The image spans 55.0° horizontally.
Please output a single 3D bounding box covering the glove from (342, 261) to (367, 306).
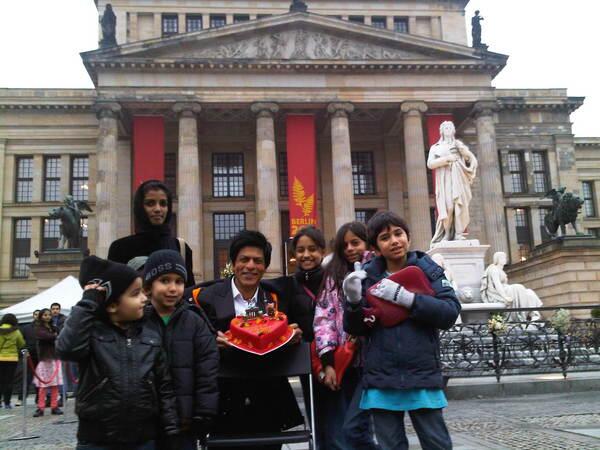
[{"bbox_3d":[0.601,0.599,5.942,0.313,0.128,0.327,-32,-12,-32],"label":"glove"}]

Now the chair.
[{"bbox_3d":[-0.385,1.771,6.465,1.488,1.240,1.020,-2,-24,0],"label":"chair"}]

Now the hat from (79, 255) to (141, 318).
[{"bbox_3d":[-1.916,0.561,5.730,0.706,0.543,0.482,-4,-1,13],"label":"hat"}]

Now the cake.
[{"bbox_3d":[-0.383,1.092,5.994,0.569,0.152,0.512,-12,22,-34],"label":"cake"}]

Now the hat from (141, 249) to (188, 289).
[{"bbox_3d":[-1.469,0.488,6.143,0.420,0.304,0.418,3,-18,-38],"label":"hat"}]

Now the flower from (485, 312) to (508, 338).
[{"bbox_3d":[4.308,2.175,12.644,0.546,0.510,0.500,5,-13,-2],"label":"flower"}]
